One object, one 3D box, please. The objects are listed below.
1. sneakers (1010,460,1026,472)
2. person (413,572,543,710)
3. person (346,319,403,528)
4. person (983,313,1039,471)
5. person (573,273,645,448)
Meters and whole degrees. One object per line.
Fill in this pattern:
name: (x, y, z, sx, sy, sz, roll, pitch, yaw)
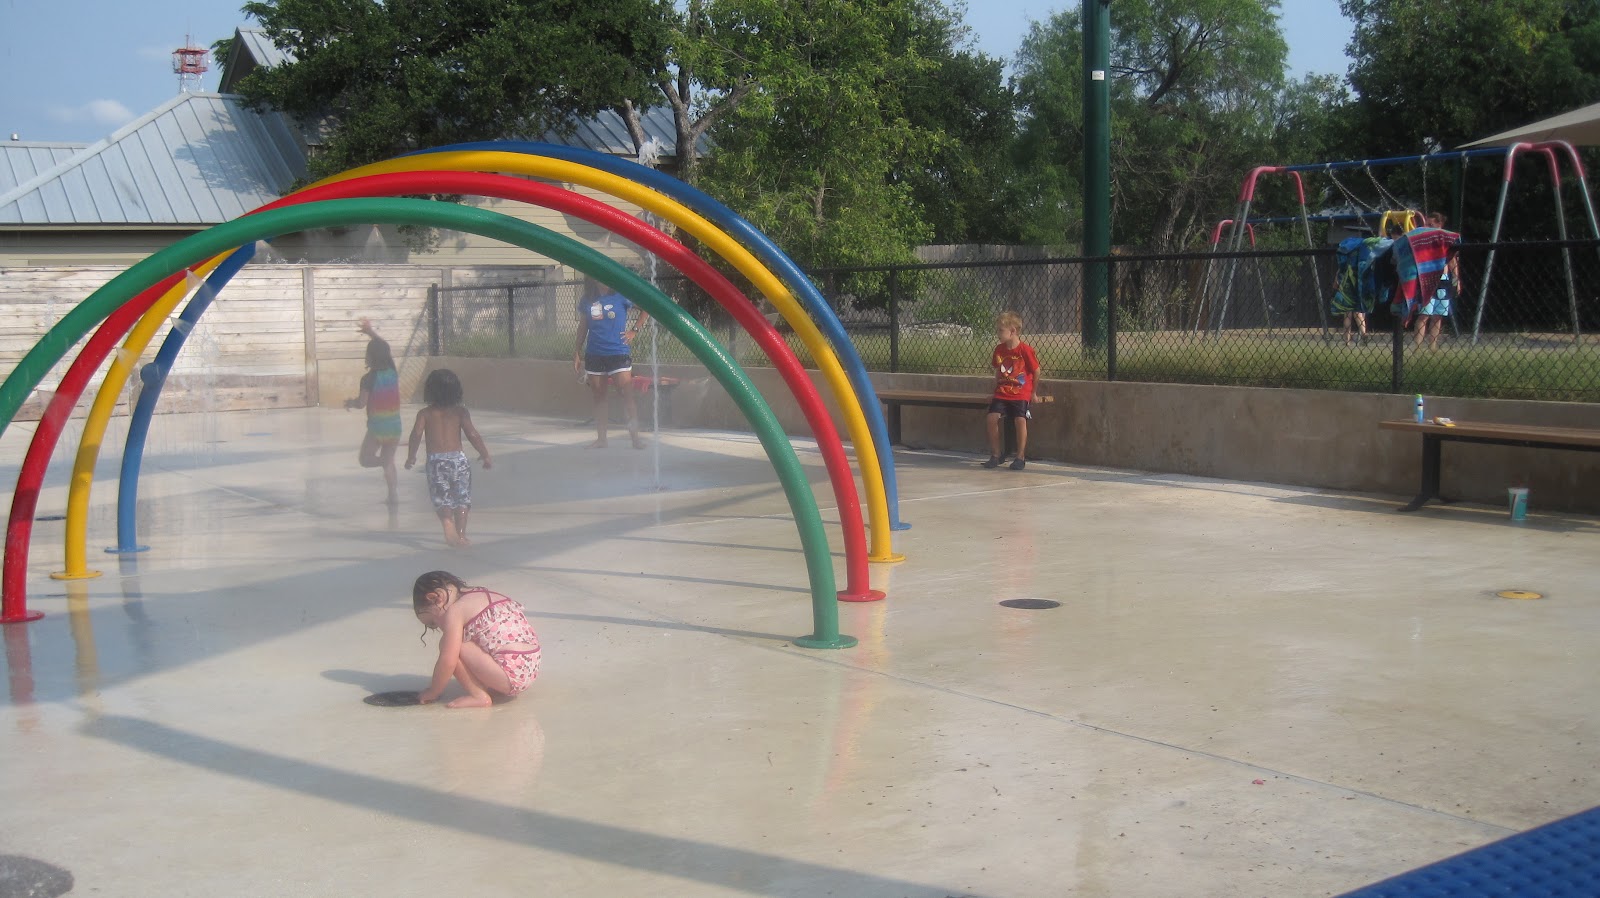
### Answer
sneakers: (2.686, 0.203, 17.949, 0.200, 0.124, 0.269, 0, 12, 3)
person: (-2.400, 1.406, 11.046, 1.124, 0.890, 0.844, 6, 13, 28)
person: (-4.230, -0.221, 14.682, 0.481, 1.900, 1.363, -6, 13, -22)
person: (2.631, -0.711, 18.125, 0.656, 1.873, 0.890, 1, 13, 9)
person: (-2.548, -1.085, 19.567, 0.744, 2.189, 1.198, -3, 13, -9)
